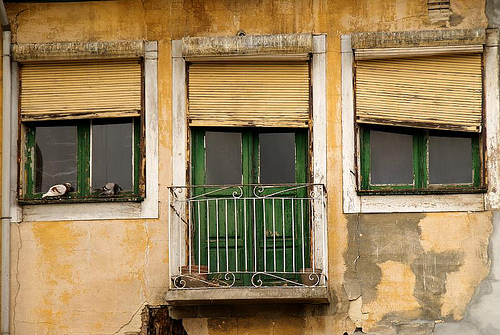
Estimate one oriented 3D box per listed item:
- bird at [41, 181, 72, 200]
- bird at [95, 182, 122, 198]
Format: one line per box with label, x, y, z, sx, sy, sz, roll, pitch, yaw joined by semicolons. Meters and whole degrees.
bird;-3.116;0.357;23.360;0.572;0.338;0.200;0;-8;-2
bird;-2.318;0.372;23.398;0.438;0.261;0.204;-3;-9;-5
